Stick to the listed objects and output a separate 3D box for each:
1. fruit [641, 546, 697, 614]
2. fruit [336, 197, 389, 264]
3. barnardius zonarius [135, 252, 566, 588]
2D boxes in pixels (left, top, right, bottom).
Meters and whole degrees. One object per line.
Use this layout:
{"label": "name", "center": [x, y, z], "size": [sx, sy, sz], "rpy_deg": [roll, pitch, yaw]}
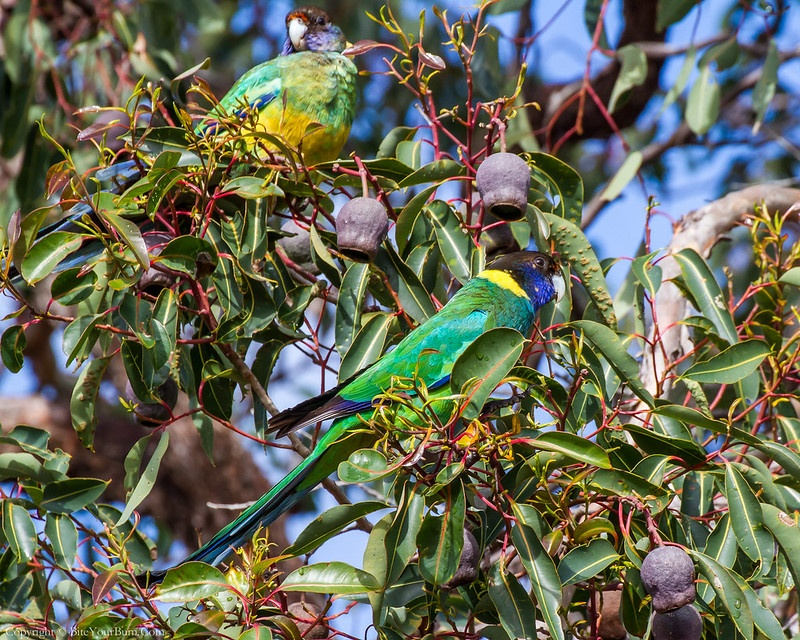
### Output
{"label": "fruit", "center": [0.902, 0.858, 4.548], "size": [0.164, 0.191, 0.250], "rpy_deg": [-1, 99, 12]}
{"label": "fruit", "center": [-0.135, -0.324, 4.966], "size": [0.132, 0.228, 0.263], "rpy_deg": [2, 91, 16]}
{"label": "barnardius zonarius", "center": [-0.144, 0.109, 5.662], "size": [1.092, 1.650, 1.697], "rpy_deg": [-2, 97, -12]}
